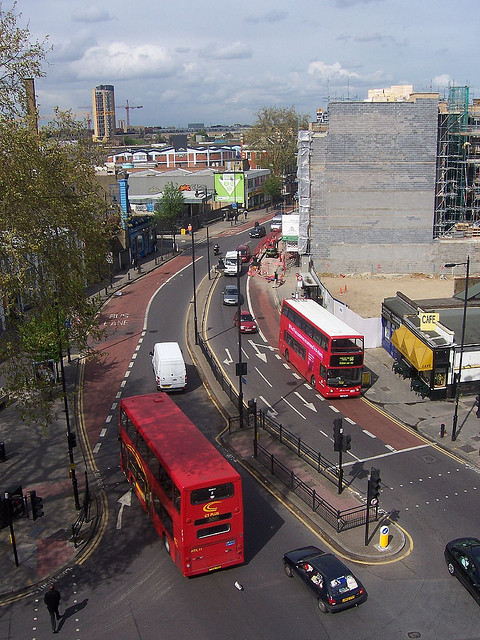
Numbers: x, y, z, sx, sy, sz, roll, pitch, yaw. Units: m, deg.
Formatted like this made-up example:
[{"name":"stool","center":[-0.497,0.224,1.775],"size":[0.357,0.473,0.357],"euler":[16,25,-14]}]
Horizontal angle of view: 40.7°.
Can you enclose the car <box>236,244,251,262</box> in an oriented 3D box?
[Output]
[{"name":"car","center":[0.510,-8.238,80.756],"size":[1.475,1.184,3.211],"euler":[0,17,5]}]

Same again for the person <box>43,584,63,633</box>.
[{"name":"person","center":[-5.281,8.205,18.399],"size":[0.410,1.316,0.764],"euler":[-6,14,-18]}]

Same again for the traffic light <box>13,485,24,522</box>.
[{"name":"traffic light","center":[-7.417,6.319,21.752],"size":[0.372,1.257,0.975],"euler":[-6,14,-20]}]

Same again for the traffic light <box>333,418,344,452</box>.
[{"name":"traffic light","center":[3.858,4.549,25.231],"size":[0.272,1.552,0.654],"euler":[1,13,9]}]

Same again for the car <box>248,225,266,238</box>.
[{"name":"car","center":[2.725,-13.545,100.735],"size":[1.635,1.345,3.979],"euler":[3,13,16]}]

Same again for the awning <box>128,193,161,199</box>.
[{"name":"awning","center":[-17.481,-22.998,120.239],"size":[5.735,0.833,11.027],"euler":[-3,13,-8]}]

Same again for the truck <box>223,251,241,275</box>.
[{"name":"truck","center":[-0.878,-6.417,74.178],"size":[2.536,2.511,4.682],"euler":[1,11,3]}]

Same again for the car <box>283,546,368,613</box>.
[{"name":"car","center":[2.455,7.750,19.442],"size":[1.068,0.822,2.339],"euler":[-8,18,-22]}]

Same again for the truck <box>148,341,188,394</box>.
[{"name":"truck","center":[-4.178,2.737,39.158],"size":[1.684,1.696,3.421],"euler":[-2,24,-10]}]

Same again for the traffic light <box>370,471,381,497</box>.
[{"name":"traffic light","center":[4.734,5.798,22.576],"size":[0.289,1.217,0.621],"euler":[4,14,22]}]

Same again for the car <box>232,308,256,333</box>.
[{"name":"car","center":[0.474,0.328,52.524],"size":[1.701,1.568,3.631],"euler":[-1,13,1]}]

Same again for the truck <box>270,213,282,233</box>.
[{"name":"truck","center":[6.003,-15.854,107.199],"size":[1.723,2.496,5.115],"euler":[0,11,2]}]

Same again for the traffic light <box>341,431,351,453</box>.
[{"name":"traffic light","center":[4.154,4.814,25.194],"size":[0.259,0.826,0.583],"euler":[-1,13,0]}]
